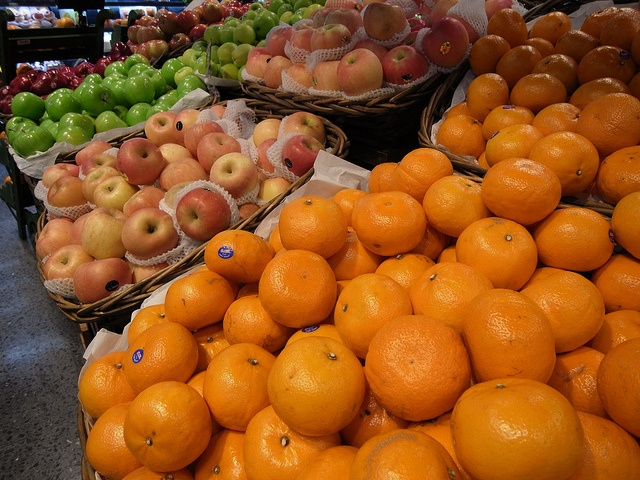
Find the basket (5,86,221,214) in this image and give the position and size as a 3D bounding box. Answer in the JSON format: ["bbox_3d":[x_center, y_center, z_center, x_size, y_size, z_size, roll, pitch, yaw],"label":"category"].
[{"bbox_3d":[-1.347,-0.645,3.129,0.814,0.263,0.833,-29,46,-14],"label":"basket"}]
